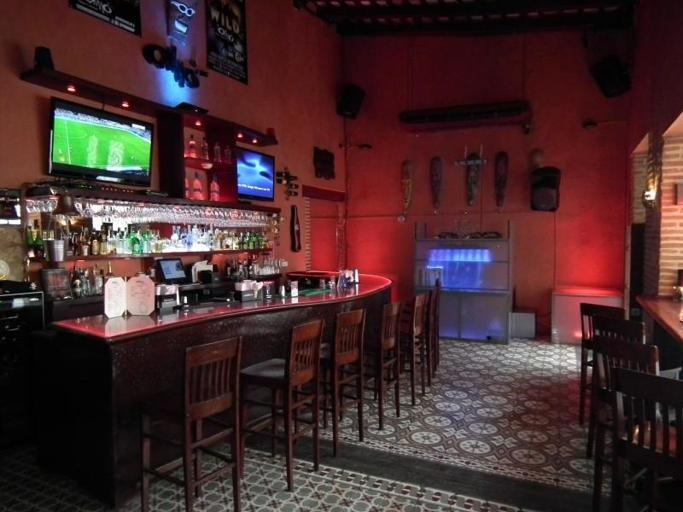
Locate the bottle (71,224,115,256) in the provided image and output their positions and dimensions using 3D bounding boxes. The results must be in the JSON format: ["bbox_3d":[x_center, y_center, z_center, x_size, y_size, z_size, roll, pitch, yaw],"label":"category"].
[{"bbox_3d":[-2.875,-0.179,5.864,0.361,0.375,0.380,1,2,8],"label":"bottle"}]

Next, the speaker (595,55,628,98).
[{"bbox_3d":[4.647,-3.108,8.772,0.602,0.701,0.308,2,10,13],"label":"speaker"}]

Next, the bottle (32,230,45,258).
[{"bbox_3d":[-3.228,-0.127,5.428,0.135,0.296,0.067,-4,11,-23],"label":"bottle"}]

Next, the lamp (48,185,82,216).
[{"bbox_3d":[-2.842,-0.566,5.224,0.270,0.307,0.274,-4,4,-44],"label":"lamp"}]

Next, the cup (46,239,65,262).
[{"bbox_3d":[-3.029,-0.058,5.402,0.206,0.238,0.211,4,2,0],"label":"cup"}]

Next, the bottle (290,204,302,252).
[{"bbox_3d":[-0.816,-0.477,9.097,0.125,0.855,0.414,4,11,25],"label":"bottle"}]

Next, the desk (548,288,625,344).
[{"bbox_3d":[4.261,1.057,8.826,1.064,0.890,0.865,0,4,28],"label":"desk"}]

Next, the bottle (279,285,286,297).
[{"bbox_3d":[-0.736,0.445,6.327,0.111,0.196,0.114,0,2,0],"label":"bottle"}]

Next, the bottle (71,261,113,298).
[{"bbox_3d":[-2.813,0.271,5.686,0.164,0.356,0.353,-8,-10,34],"label":"bottle"}]

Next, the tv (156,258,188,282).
[{"bbox_3d":[-2.165,0.183,6.450,0.264,0.294,0.100,8,-24,-37],"label":"tv"}]

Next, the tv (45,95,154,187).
[{"bbox_3d":[-2.802,-1.314,5.799,0.125,0.895,1.230,2,1,38],"label":"tv"}]

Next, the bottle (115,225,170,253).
[{"bbox_3d":[-2.512,-0.194,6.298,0.373,0.244,0.381,1,1,0],"label":"bottle"}]

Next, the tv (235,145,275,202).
[{"bbox_3d":[-1.404,-1.248,7.934,0.132,0.789,1.088,4,4,25],"label":"tv"}]

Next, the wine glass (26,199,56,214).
[{"bbox_3d":[-3.215,-0.529,5.424,0.199,0.090,0.163,1,0,-8],"label":"wine glass"}]
